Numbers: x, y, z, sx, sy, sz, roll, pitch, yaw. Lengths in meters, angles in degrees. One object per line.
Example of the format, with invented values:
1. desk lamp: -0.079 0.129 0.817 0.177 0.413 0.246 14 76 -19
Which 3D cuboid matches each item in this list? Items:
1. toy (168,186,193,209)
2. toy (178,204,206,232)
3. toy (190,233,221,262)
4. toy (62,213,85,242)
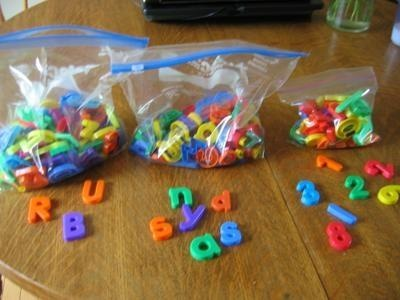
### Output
1. toy: -0.044 0.103 0.808 0.039 0.015 0.041 0 39 -11
2. toy: -0.016 0.139 0.775 0.049 0.016 0.062 0 47 7
3. toy: 0.008 0.185 0.724 0.039 0.011 0.046 -11 42 -17
4. toy: -0.253 0.155 0.759 0.037 0.012 0.060 -5 43 -11
